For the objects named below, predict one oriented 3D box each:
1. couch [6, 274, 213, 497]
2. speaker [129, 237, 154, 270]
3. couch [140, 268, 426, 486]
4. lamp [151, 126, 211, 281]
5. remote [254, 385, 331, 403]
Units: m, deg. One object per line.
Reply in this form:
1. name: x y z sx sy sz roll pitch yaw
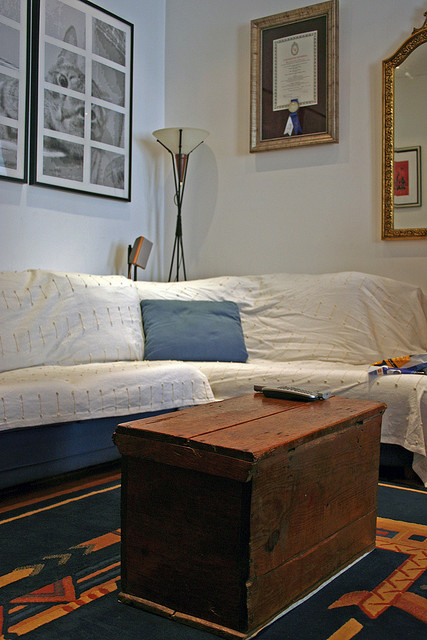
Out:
1. couch: -0.414 0.223 1.729 0.439 0.530 0.782 -9 -7 38
2. speaker: -0.474 -0.433 3.074 0.085 0.189 0.144 1 1 34
3. couch: 0.402 0.140 2.345 1.246 0.663 0.933 -1 0 36
4. lamp: -0.224 -0.783 3.300 0.355 0.993 0.524 0 1 -1
5. remote: 0.222 0.204 1.342 0.145 0.025 0.086 -1 -4 30
